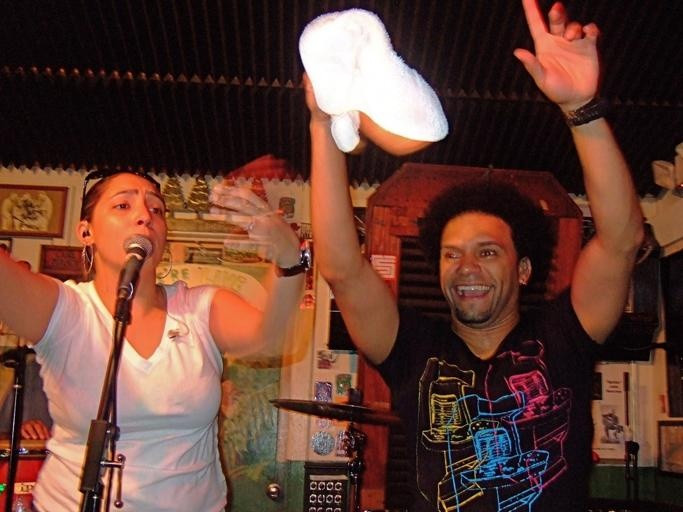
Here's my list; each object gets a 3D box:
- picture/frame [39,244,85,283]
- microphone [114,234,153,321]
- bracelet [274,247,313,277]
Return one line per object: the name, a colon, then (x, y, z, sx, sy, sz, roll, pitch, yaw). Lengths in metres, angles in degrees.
picture/frame: (-2.918, 0.064, 5.969, 0.448, 0.029, 0.510, 7, 30, -29)
microphone: (-0.865, 0.091, 2.373, 0.116, 0.396, 0.211, 2, -12, -17)
bracelet: (-0.220, 0.026, 2.530, 0.125, 0.049, 0.131, 5, 20, 42)
